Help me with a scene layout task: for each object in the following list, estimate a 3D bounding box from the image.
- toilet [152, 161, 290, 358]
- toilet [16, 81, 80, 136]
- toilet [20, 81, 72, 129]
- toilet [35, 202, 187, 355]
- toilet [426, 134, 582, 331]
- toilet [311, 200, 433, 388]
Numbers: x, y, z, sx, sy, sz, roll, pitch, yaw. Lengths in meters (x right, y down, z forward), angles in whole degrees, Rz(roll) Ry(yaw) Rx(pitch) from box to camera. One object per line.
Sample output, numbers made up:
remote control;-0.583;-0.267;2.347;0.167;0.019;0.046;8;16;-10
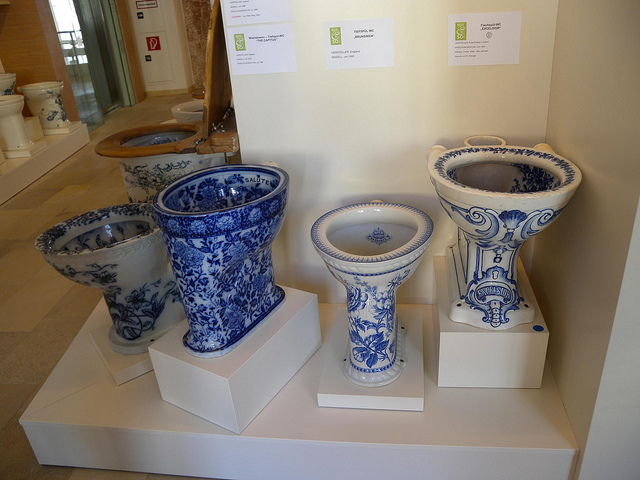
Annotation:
toilet;-0.319;0.069;1.377;0.283;0.412;0.420;10;21;18
toilet;-2.408;-1.175;4.188;0.417;0.423;0.444;-31;29;-33
toilet;-2.436;-1.212;4.149;0.360;0.398;0.342;2;29;1
toilet;-0.650;0.157;1.630;0.332;0.430;0.401;16;23;29
toilet;0.483;-0.067;1.440;0.367;0.407;0.560;-2;34;5
toilet;0.149;0.107;1.535;0.381;0.547;0.549;4;37;13
